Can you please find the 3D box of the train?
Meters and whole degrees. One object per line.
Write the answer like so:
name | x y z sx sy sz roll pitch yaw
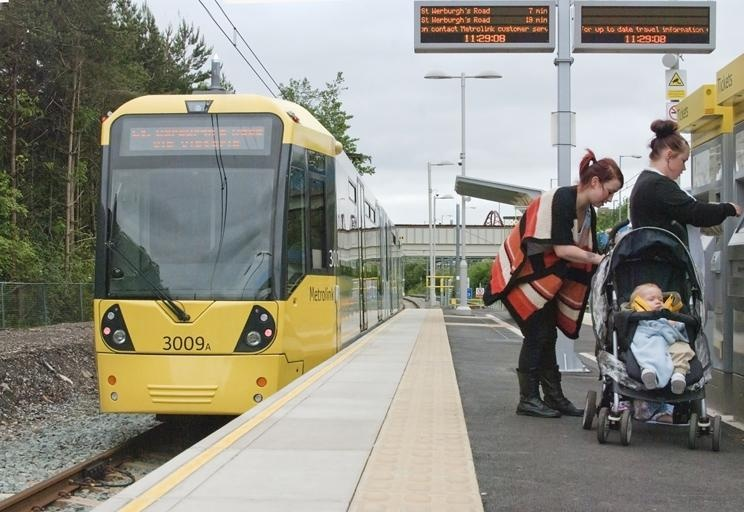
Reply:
train | -1.324 -0.069 15.661 2.896 4.424 12.868 0 0 8

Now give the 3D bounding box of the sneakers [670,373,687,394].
sneakers | 2.771 1.166 6.618 0.086 0.242 0.100 5 35 15

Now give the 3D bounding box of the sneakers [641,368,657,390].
sneakers | 2.521 1.121 6.656 0.087 0.230 0.093 -6 10 9

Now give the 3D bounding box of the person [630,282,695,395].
person | 2.733 0.727 6.925 0.581 0.344 1.316 -1 38 18

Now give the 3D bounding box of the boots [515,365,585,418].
boots | 1.911 1.561 7.984 0.500 0.491 0.718 -6 -10 30
